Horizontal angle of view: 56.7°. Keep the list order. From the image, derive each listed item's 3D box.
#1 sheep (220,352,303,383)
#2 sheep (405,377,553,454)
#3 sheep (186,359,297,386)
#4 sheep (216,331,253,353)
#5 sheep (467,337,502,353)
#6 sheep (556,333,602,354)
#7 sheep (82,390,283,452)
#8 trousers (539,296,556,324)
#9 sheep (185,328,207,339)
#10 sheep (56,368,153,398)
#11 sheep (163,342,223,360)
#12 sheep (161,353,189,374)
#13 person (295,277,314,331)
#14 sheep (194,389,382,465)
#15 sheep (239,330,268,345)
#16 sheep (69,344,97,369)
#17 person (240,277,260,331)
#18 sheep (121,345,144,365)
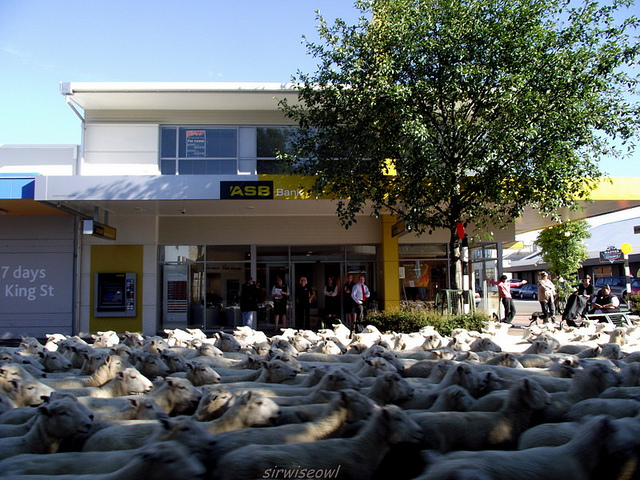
[{"bbox_3d":[-0.884,1.865,8.960,1.191,0.539,0.429,-8,1,-2],"label":"sheep"},{"bbox_3d":[1.830,2.209,6.736,1.866,1.061,0.550,-11,-11,21],"label":"sheep"},{"bbox_3d":[-1.094,1.950,8.537,1.628,0.347,0.597,0,-9,-11],"label":"sheep"},{"bbox_3d":[-1.688,2.083,11.904,0.913,0.430,0.385,-2,-10,42],"label":"sheep"},{"bbox_3d":[2.985,1.936,10.717,0.532,0.266,0.451,-4,-9,13],"label":"sheep"},{"bbox_3d":[5.068,2.069,11.588,0.908,0.411,0.343,3,13,-30],"label":"sheep"},{"bbox_3d":[-1.503,2.156,6.859,2.165,0.958,0.716,-4,-1,-6],"label":"sheep"},{"bbox_3d":[7.453,2.336,19.363,0.397,0.862,0.564,-6,-10,20],"label":"trousers"},{"bbox_3d":[-2.842,2.153,13.420,0.443,0.146,0.295,18,-10,1],"label":"sheep"},{"bbox_3d":[-2.800,1.940,7.908,1.047,0.350,0.405,-3,-9,8],"label":"sheep"},{"bbox_3d":[-2.257,2.031,10.777,1.012,0.461,0.393,2,-3,11],"label":"sheep"},{"bbox_3d":[-2.225,1.924,9.119,0.283,0.295,0.534,6,-12,-41],"label":"sheep"},{"bbox_3d":[-0.470,2.084,18.899,0.582,1.644,1.593,-2,-9,-1],"label":"person"},{"bbox_3d":[-0.207,2.131,6.337,1.748,0.765,0.419,1,-16,-27],"label":"sheep"},{"bbox_3d":[-1.483,2.302,13.648,0.523,0.234,0.767,8,-4,17],"label":"sheep"},{"bbox_3d":[-4.063,2.011,10.038,0.363,0.364,0.743,0,-12,-8],"label":"sheep"},{"bbox_3d":[-2.127,1.891,17.487,0.438,1.382,0.880,-3,-10,5],"label":"person"},{"bbox_3d":[-2.976,1.849,9.439,0.244,0.251,0.497,0,-15,-6],"label":"sheep"}]
